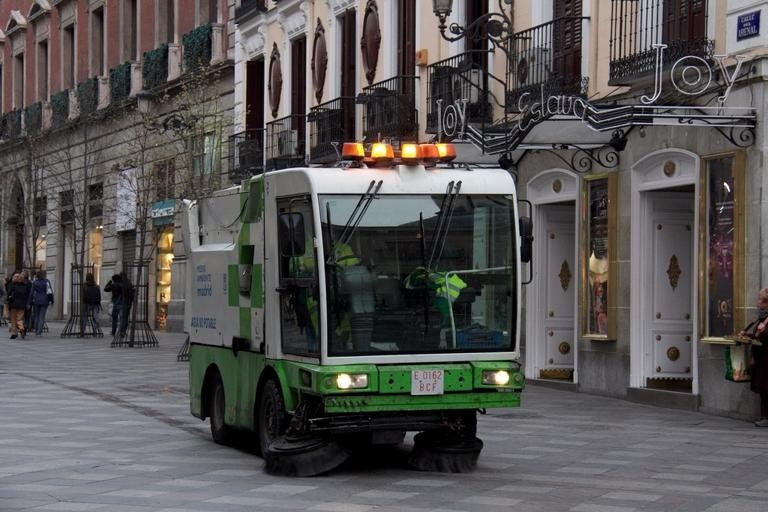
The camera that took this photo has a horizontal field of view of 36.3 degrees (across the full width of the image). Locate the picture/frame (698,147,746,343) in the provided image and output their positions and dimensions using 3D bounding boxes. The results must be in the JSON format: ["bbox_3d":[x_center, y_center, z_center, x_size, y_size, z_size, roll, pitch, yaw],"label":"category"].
[{"bbox_3d":[5.884,-0.188,20.472,0.278,3.168,1.084,3,-6,-26],"label":"picture/frame"}]

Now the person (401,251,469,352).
[{"bbox_3d":[0.734,0.718,16.239,0.657,1.148,0.548,1,2,4],"label":"person"}]

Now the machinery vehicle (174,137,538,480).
[{"bbox_3d":[-0.846,0.799,18.537,3.747,4.791,6.467,0,0,-25],"label":"machinery vehicle"}]
